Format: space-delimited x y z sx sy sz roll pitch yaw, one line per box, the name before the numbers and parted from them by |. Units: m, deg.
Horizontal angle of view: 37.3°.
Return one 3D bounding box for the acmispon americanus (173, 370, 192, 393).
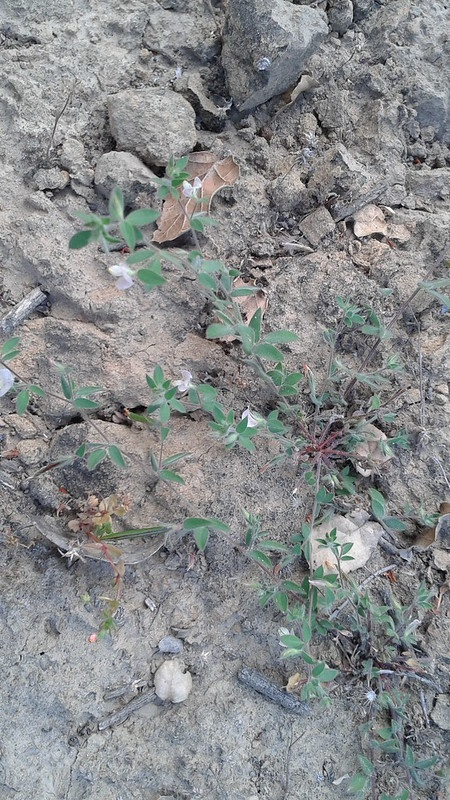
acmispon americanus | -0.163 -0.074 2.595 0.086 0.078 0.033 -38 23 -32
